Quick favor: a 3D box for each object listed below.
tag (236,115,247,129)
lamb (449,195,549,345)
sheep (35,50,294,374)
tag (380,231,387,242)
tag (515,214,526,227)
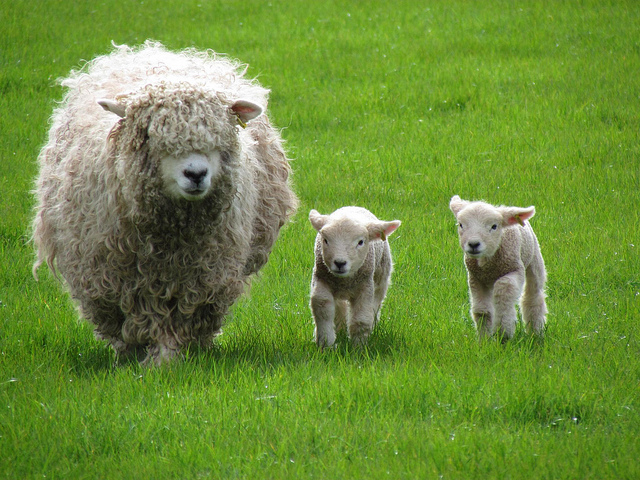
[{"bbox_3d":[-0.680,-1.015,7.432,0.030,0.138,0.035,-24,13,7],"label":"tag"},{"bbox_3d":[1.674,0.200,7.868,0.759,1.478,0.836,4,17,26],"label":"lamb"},{"bbox_3d":[-1.498,-0.085,8.282,2.197,3.145,1.927,-4,23,-7],"label":"sheep"},{"bbox_3d":[0.567,-0.046,7.809,0.052,0.102,0.158,2,10,4],"label":"tag"},{"bbox_3d":[1.794,-0.186,7.711,0.071,0.121,0.183,6,11,25],"label":"tag"}]
